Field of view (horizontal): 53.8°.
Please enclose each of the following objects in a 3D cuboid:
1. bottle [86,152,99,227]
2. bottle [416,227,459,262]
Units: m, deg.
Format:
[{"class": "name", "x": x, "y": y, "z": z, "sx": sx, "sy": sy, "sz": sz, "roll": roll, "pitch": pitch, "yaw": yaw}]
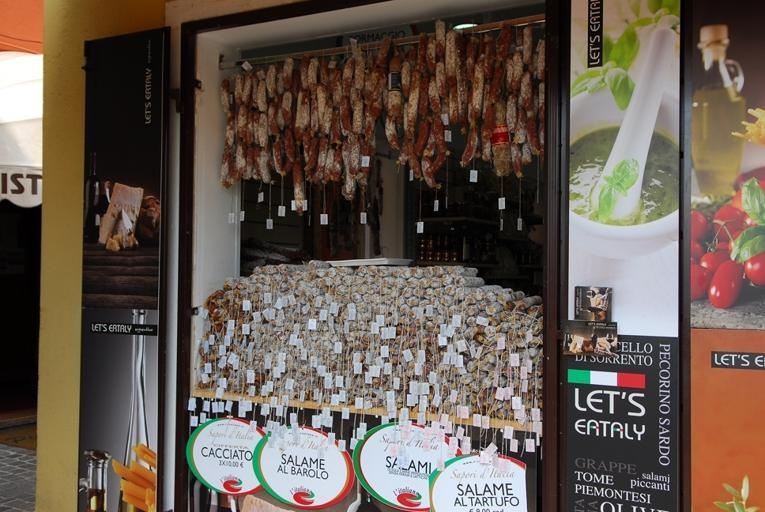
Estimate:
[{"class": "bottle", "x": -2.483, "y": -0.563, "z": 6.455, "sx": 0.152, "sy": 0.654, "sz": 0.051, "roll": -2, "pitch": -4, "yaw": 29}, {"class": "bottle", "x": 0.530, "y": -0.111, "z": 7.191, "sx": 0.266, "sy": 0.301, "sz": 0.096, "roll": 0, "pitch": -6, "yaw": 1}]
